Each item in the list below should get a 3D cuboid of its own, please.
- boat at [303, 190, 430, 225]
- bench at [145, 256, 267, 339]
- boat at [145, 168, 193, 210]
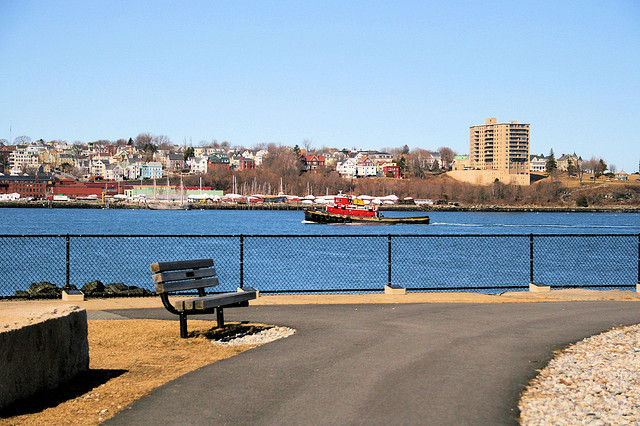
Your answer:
[{"bbox_3d":[5.106,-0.446,98.424,13.627,3.527,3.381,3,0,4],"label":"boat"},{"bbox_3d":[-2.946,2.152,23.865,1.649,1.783,3.181,4,1,19],"label":"bench"},{"bbox_3d":[-29.779,-2.586,180.468,7.703,4.998,32.007,-2,14,-11],"label":"boat"}]
